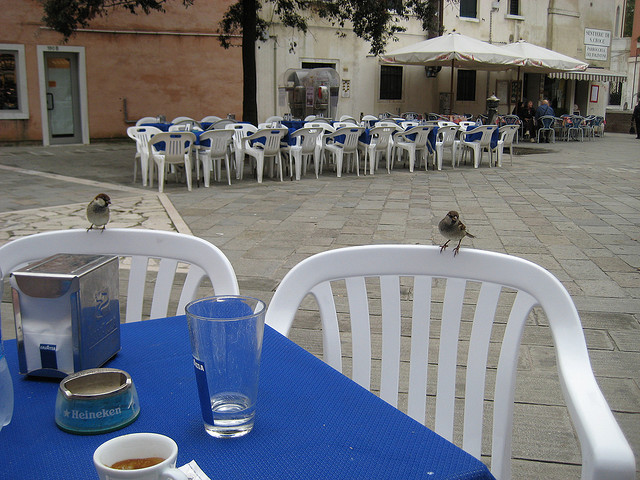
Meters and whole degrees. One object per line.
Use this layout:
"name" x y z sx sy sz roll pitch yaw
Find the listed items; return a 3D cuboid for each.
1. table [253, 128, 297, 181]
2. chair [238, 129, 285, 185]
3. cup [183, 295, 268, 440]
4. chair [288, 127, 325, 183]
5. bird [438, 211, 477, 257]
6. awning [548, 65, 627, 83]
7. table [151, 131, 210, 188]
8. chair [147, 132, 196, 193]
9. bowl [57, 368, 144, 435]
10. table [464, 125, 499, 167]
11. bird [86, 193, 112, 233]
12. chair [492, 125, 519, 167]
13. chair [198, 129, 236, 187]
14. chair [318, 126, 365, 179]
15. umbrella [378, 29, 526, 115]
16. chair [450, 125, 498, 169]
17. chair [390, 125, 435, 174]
"table" -0.869 -1.616 9.942 0.691 0.971 0.716 -11 50 -18
"chair" -1.070 -1.538 9.708 0.828 0.979 0.691 -2 14 -9
"cup" -0.171 0.235 0.994 0.136 0.243 0.142 1 12 0
"chair" -0.271 -1.692 10.304 0.679 0.985 1.410 0 14 0
"bird" 0.435 -0.039 1.682 0.070 0.159 0.218 14 24 33
"awning" 11.487 -7.050 22.652 2.675 0.735 2.620 -5 19 -8
"table" -2.392 -1.235 8.654 0.773 1.056 0.706 -7 18 -33
"chair" -2.417 -1.334 8.697 0.731 1.026 0.712 -12 25 -36
"bowl" -0.426 0.309 1.022 0.146 0.077 0.163 -2 9 -20
"table" 3.629 -2.137 12.264 0.751 1.033 0.723 12 19 39
"bird" -0.750 -0.096 1.779 0.072 0.150 0.144 -4 20 -39
"chair" 4.514 -2.348 13.027 0.595 0.845 0.563 -13 17 -29
"chair" -1.792 -1.422 9.199 0.612 0.980 0.855 -2 14 -11
"chair" 0.426 -1.840 10.812 0.797 1.089 0.836 0 22 -3
"umbrella" 4.149 -5.216 15.935 3.727 1.894 2.895 -8 17 -31
"chair" 3.536 -2.153 12.373 0.894 0.892 0.784 7 7 31
"chair" 2.077 -2.042 11.754 0.785 1.058 0.822 10 20 32
